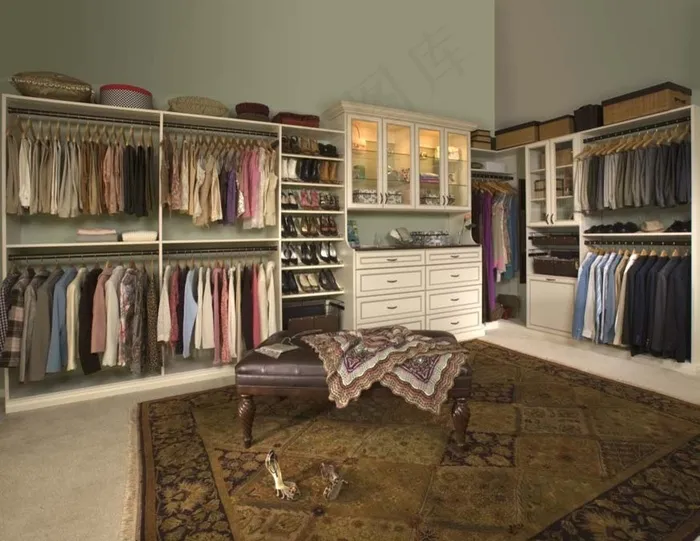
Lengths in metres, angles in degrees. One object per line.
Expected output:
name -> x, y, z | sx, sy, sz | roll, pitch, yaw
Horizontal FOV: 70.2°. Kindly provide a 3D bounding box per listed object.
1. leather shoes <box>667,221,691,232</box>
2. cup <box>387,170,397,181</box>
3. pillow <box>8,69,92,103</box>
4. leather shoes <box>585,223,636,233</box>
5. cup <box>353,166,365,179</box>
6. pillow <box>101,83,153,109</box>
leather shoes -> 3.135, -0.410, 4.735 | 0.089, 0.107, 0.261 | -3, 4, -30
cup -> 0.464, -1.044, 5.575 | 0.100, 0.097, 0.140 | -1, 4, 5
pillow -> -2.413, -1.422, 4.038 | 0.435, 0.144, 0.324 | 2, 5, -10
leather shoes -> 2.771, -0.428, 5.193 | 0.273, 0.085, 0.224 | 0, -1, -23
cup -> 0.079, -1.060, 5.376 | 0.153, 0.139, 0.079 | -2, 2, -34
pillow -> -1.947, -1.484, 4.309 | 0.297, 0.104, 0.282 | 0, 3, -17
